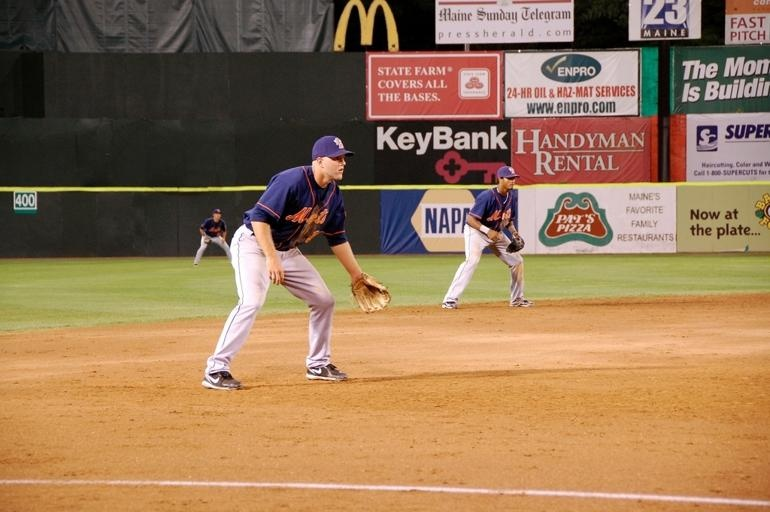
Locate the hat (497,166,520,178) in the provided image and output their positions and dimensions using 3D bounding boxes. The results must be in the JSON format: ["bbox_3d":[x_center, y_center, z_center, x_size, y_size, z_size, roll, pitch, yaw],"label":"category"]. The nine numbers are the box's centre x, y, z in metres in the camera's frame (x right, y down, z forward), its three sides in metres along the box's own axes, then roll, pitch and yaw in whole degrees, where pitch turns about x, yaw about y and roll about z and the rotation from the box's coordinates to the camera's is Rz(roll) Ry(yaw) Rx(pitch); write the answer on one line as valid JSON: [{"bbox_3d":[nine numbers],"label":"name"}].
[{"bbox_3d":[2.688,-1.846,26.384,0.355,0.256,0.328,1,13,12],"label":"hat"}]

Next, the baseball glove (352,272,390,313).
[{"bbox_3d":[-0.246,0.692,21.787,0.646,0.214,0.775,-38,44,-16],"label":"baseball glove"}]

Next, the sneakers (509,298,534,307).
[{"bbox_3d":[3.072,1.031,26.983,0.472,0.174,0.187,-2,2,5],"label":"sneakers"}]

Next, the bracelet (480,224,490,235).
[{"bbox_3d":[2.219,-0.604,26.511,0.184,0.118,0.181,-6,10,-37],"label":"bracelet"}]

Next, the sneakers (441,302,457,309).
[{"bbox_3d":[1.442,1.077,26.827,0.274,0.162,0.135,-3,11,1],"label":"sneakers"}]

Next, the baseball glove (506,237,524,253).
[{"bbox_3d":[2.917,-0.262,26.823,0.396,0.326,0.292,12,-6,9],"label":"baseball glove"}]

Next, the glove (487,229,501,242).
[{"bbox_3d":[2.444,-0.481,26.650,0.210,0.321,0.372,4,14,25],"label":"glove"}]
